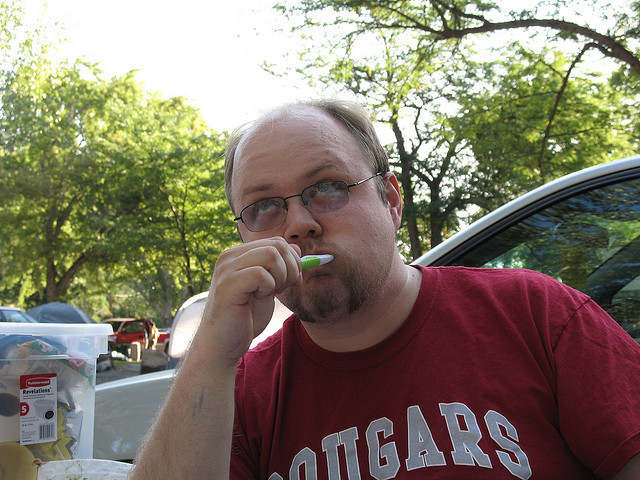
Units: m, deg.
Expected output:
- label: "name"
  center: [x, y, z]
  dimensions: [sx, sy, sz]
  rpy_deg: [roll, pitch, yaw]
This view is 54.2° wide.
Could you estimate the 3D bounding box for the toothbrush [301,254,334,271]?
- label: "toothbrush"
  center: [-0.013, 0.080, 2.540]
  dimensions: [0.210, 0.044, 0.055]
  rpy_deg: [-9, 10, -41]
